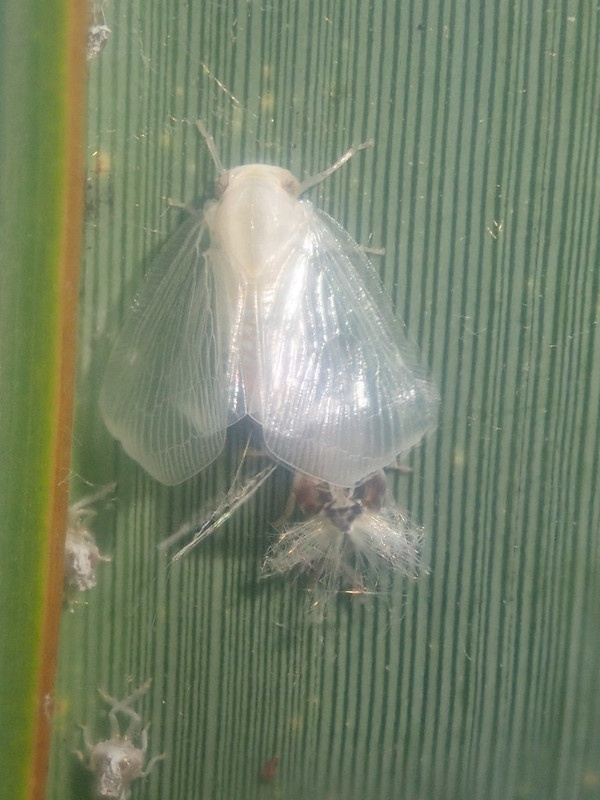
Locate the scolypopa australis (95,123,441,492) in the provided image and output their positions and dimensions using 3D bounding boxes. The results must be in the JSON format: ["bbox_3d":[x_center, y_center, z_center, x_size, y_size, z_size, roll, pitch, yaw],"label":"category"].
[{"bbox_3d":[-0.035,-0.111,1.487,0.410,0.436,0.074,3,0,9],"label":"scolypopa australis"}]

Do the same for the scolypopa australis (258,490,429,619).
[{"bbox_3d":[0.063,0.191,1.527,0.161,0.168,0.066,2,-5,0],"label":"scolypopa australis"}]
